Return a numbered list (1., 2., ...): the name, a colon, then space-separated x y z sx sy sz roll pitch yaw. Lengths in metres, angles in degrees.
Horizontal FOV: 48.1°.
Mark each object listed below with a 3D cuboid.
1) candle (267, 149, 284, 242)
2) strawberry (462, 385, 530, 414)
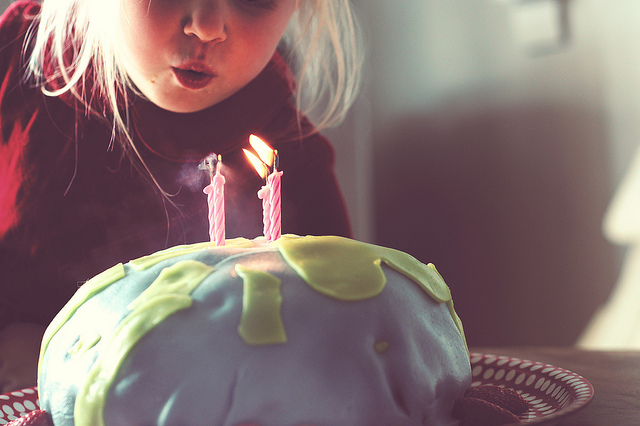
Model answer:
1. candle: -0.153 -0.060 2.455 0.062 0.312 0.068 1 11 14
2. strawberry: 0.599 0.618 2.397 0.144 0.105 0.145 -10 9 -1
